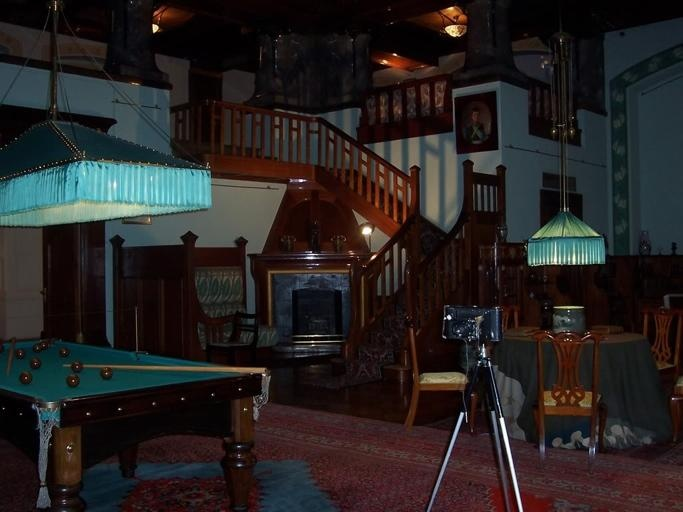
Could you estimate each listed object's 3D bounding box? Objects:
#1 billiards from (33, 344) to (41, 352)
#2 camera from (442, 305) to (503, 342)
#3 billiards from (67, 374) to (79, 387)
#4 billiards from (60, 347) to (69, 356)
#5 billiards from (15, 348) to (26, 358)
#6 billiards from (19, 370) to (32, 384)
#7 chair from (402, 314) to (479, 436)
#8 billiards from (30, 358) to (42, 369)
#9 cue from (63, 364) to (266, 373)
[{"bbox_3d":[-2.435,0.733,5.404,0.051,0.059,0.052,-5,-4,-2],"label":"billiards"},{"bbox_3d":[0.834,0.428,4.293,0.349,0.228,0.154,1,5,15],"label":"camera"},{"bbox_3d":[-1.699,0.783,4.297,0.069,0.079,0.027,-3,6,-5],"label":"billiards"},{"bbox_3d":[-2.165,0.746,5.271,0.060,0.068,0.058,-13,7,-16],"label":"billiards"},{"bbox_3d":[-2.494,0.752,5.256,0.064,0.072,0.067,6,8,29],"label":"billiards"},{"bbox_3d":[-2.068,0.794,4.425,0.068,0.089,0.073,0,-3,14],"label":"billiards"},{"bbox_3d":[0.928,1.205,6.866,0.841,1.416,0.851,-1,-1,3],"label":"chair"},{"bbox_3d":[-2.182,0.770,4.851,0.070,0.087,0.071,-20,-19,30],"label":"billiards"},{"bbox_3d":[-1.279,0.781,4.693,1.292,0.056,0.052,1,-1,19],"label":"cue"}]
